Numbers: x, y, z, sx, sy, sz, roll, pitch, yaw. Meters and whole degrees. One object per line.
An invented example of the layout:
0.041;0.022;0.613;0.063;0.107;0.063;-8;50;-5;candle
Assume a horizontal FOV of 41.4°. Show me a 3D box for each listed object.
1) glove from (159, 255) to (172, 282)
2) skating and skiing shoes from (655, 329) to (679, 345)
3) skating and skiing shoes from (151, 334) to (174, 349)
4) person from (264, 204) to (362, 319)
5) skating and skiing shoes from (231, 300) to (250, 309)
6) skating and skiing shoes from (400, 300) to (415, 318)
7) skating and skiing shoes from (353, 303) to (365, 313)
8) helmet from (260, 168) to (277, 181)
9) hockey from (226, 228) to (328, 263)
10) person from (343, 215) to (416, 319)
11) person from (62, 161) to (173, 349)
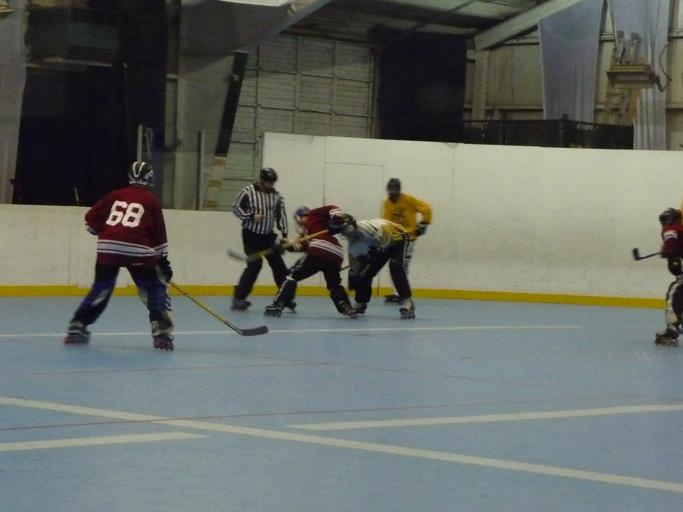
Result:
-1.525;0.113;7.709;0.071;0.190;0.143;-21;9;-1;glove
3.191;0.793;8.834;0.214;0.140;0.135;1;-1;4;skating and skiing shoes
-1.479;0.718;7.546;0.134;0.071;0.137;-2;-5;41;skating and skiing shoes
-0.283;0.063;10.194;0.891;1.251;0.541;4;6;18;person
-1.215;0.594;10.936;0.154;0.064;0.120;-1;2;10;skating and skiing shoes
0.775;0.632;10.556;0.237;0.230;0.141;-1;0;13;skating and skiing shoes
0.232;0.637;10.832;0.104;0.130;0.127;0;13;0;skating and skiing shoes
-0.847;-0.962;10.606;0.190;0.144;0.177;-2;-22;-3;helmet
-0.774;-0.127;10.878;1.125;0.079;0.199;-18;-43;17;hockey
0.453;0.105;10.637;0.921;1.186;0.725;-1;-1;25;person
-1.806;0.000;7.657;0.888;1.564;0.499;5;6;28;person
